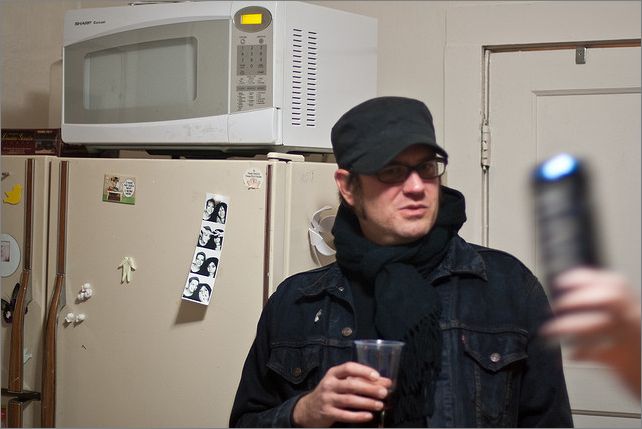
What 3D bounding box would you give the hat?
[{"bbox_3d":[0.204,-0.267,2.238,0.224,0.178,0.314,-12,-2,-20],"label":"hat"}]
